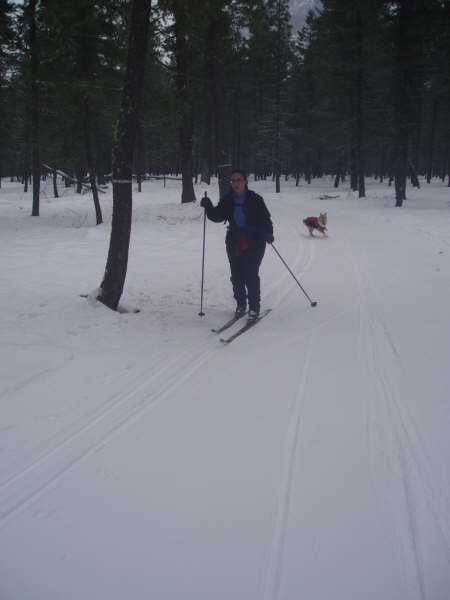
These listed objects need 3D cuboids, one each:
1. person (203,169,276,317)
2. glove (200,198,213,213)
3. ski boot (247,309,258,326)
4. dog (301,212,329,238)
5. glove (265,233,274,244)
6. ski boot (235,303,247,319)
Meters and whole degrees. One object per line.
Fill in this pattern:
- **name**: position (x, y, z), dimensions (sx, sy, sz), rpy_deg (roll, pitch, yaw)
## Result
- **person**: position (0.207, -0.684, 6.779), dimensions (0.763, 1.877, 0.532), rpy_deg (5, 11, 32)
- **glove**: position (-0.220, -1.174, 6.640), dimensions (0.142, 0.172, 0.298), rpy_deg (-1, 13, -1)
- **ski boot**: position (0.344, 0.225, 6.648), dimensions (0.062, 0.130, 0.258), rpy_deg (0, 25, 13)
- **dog**: position (2.575, -2.051, 14.753), dimensions (0.651, 0.601, 1.318), rpy_deg (2, 13, 13)
- **glove**: position (0.571, -0.766, 6.744), dimensions (0.074, 0.146, 0.039), rpy_deg (-2, 8, -7)
- **ski boot**: position (0.220, 0.139, 7.114), dimensions (0.067, 0.120, 0.275), rpy_deg (-2, 15, 17)
